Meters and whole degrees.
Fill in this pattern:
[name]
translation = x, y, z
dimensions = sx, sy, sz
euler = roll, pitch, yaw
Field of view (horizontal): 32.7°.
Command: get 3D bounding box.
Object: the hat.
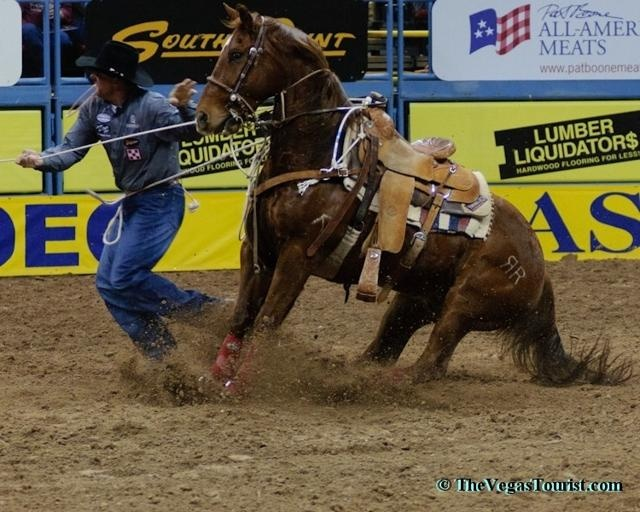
[hat]
translation = -1.356, -1.331, 7.206
dimensions = 0.476, 0.162, 0.356
euler = 22, 21, -1

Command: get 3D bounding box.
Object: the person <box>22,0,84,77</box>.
[person]
translation = -2.461, -2.052, 9.957
dimensions = 0.774, 0.629, 0.169
euler = -2, 3, -35
